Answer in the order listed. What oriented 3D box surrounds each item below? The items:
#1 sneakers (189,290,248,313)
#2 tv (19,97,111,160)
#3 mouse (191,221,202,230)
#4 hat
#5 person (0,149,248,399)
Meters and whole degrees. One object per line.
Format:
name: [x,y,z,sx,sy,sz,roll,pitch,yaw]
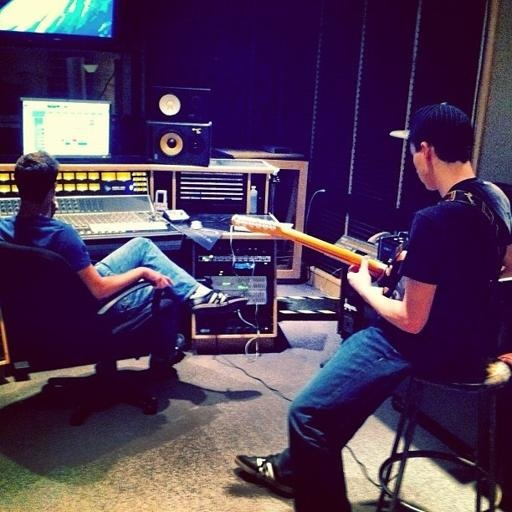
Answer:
sneakers: [-0.236,0.273,2.899,0.368,0.125,0.121,-4,25,-7]
tv: [-1.193,-0.801,3.093,0.732,0.444,0.024,-2,13,-22]
mouse: [-0.384,-0.201,3.201,0.069,0.059,0.066,5,-12,-6]
hat: [0.571,-0.419,1.604,0.161,0.099,0.209,-13,17,-34]
person: [-0.736,0.126,2.743,1.310,1.413,0.739,-21,46,-37]
